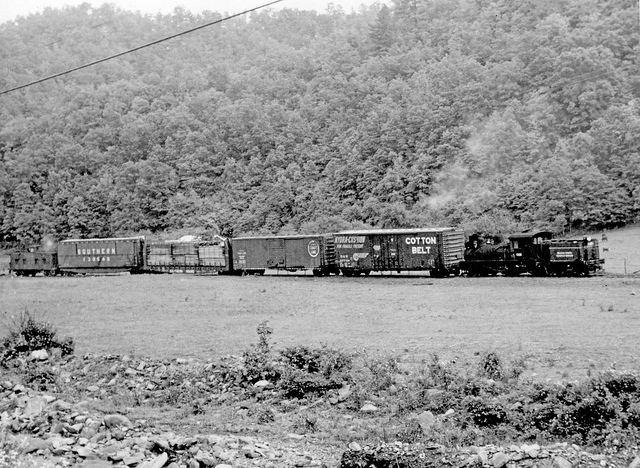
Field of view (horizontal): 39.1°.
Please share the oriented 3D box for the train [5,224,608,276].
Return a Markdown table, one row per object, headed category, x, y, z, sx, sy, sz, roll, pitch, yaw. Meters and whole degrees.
| category | x | y | z | sx | sy | sz | roll | pitch | yaw |
| --- | --- | --- | --- | --- | --- | --- | --- | --- | --- |
| train | -6.579 | 2.468 | 112.868 | 80.299 | 8.152 | 5.556 | 2 | 13 | 23 |
